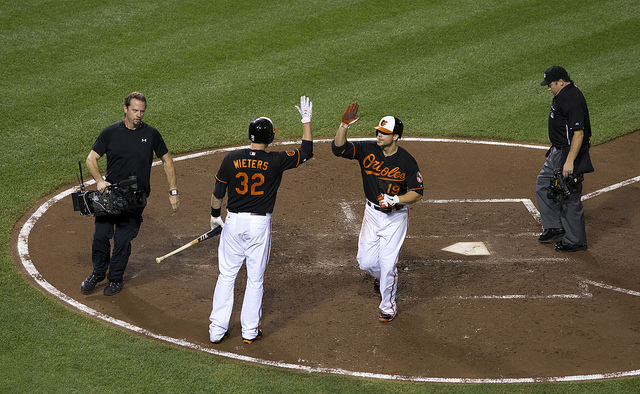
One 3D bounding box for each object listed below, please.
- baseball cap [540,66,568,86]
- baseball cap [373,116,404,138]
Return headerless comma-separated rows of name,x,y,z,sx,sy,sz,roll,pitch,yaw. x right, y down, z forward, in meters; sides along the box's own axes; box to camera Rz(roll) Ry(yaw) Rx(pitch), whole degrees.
baseball cap,4.203,-2.178,15.475,0.502,0.239,0.321,-7,24,14
baseball cap,1.171,-1.151,14.041,0.459,0.290,0.213,14,100,-16
